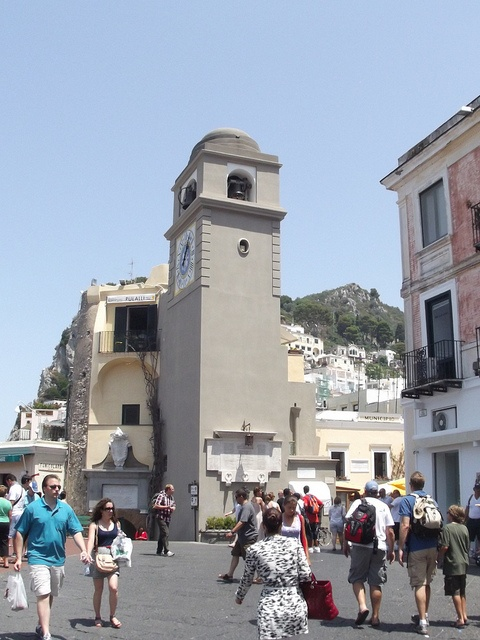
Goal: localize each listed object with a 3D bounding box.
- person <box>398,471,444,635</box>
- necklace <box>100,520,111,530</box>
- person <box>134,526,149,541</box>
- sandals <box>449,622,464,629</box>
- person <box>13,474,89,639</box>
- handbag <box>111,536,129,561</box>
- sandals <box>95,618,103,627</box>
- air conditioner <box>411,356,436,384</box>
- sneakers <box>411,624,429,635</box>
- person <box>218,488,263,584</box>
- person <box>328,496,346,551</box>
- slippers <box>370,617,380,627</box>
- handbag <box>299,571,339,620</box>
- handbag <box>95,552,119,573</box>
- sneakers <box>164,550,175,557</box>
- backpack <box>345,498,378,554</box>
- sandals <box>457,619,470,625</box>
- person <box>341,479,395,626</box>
[{"bbox_3d":[1.922,2.441,7.120,0.468,1.564,0.759,-2,-11,15],"label":"person"},{"bbox_3d":[-1.526,2.344,7.573,0.084,0.091,0.020,-1,-17,-11],"label":"necklace"},{"bbox_3d":[-4.109,8.923,27.686,0.464,0.409,0.764,13,-30,-4],"label":"person"},{"bbox_3d":[2.314,3.234,7.046,0.043,0.050,0.121,3,-8,-3],"label":"sandals"},{"bbox_3d":[-1.863,2.232,6.424,0.533,1.417,0.686,-3,-11,16],"label":"person"},{"bbox_3d":[-1.356,2.591,7.505,0.230,0.335,0.186,5,-52,-8],"label":"handbag"},{"bbox_3d":[-1.538,3.297,7.251,0.052,0.040,0.149,4,-16,-7],"label":"sandals"},{"bbox_3d":[5.105,1.398,18.530,0.314,0.602,0.582,8,-19,-11],"label":"air conditioner"},{"bbox_3d":[1.814,3.095,6.720,0.076,0.097,0.218,1,-3,-1],"label":"sneakers"},{"bbox_3d":[0.033,3.443,10.677,0.657,1.400,0.519,-8,-15,31],"label":"person"},{"bbox_3d":[2.700,5.653,18.577,0.432,1.469,0.422,-1,3,8],"label":"person"},{"bbox_3d":[1.422,3.218,7.081,0.100,0.105,0.060,1,-10,-7],"label":"slippers"},{"bbox_3d":[0.704,2.530,6.125,0.334,0.404,0.150,-17,-6,42],"label":"handbag"},{"bbox_3d":[-1.480,2.704,7.377,0.240,0.220,0.109,3,-11,-13],"label":"handbag"},{"bbox_3d":[-1.728,5.633,16.006,0.109,0.115,0.252,6,-11,-43],"label":"sneakers"},{"bbox_3d":[1.340,2.246,7.364,0.238,0.463,0.282,15,-7,-42],"label":"backpack"},{"bbox_3d":[2.363,3.230,7.110,0.118,0.030,0.124,-1,-3,18],"label":"sandals"},{"bbox_3d":[1.382,2.555,7.334,0.481,1.483,0.767,-6,-12,33],"label":"person"}]
